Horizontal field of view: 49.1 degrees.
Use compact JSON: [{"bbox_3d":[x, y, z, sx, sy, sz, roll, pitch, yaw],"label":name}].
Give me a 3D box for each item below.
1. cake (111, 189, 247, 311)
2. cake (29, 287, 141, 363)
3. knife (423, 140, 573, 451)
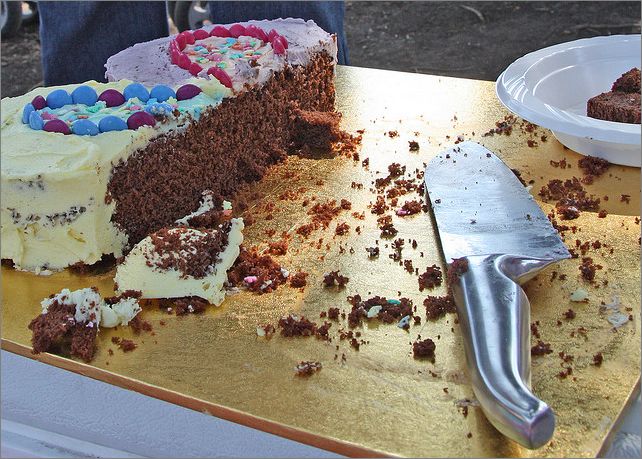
[{"bbox_3d":[-0.324,0.038,1.847,0.324,0.205,0.337,0,28,14],"label":"cake"},{"bbox_3d":[-0.564,0.223,1.656,0.228,0.088,0.174,7,70,9],"label":"cake"},{"bbox_3d":[0.398,0.096,1.680,0.216,0.063,0.759,-2,29,-3],"label":"knife"}]
